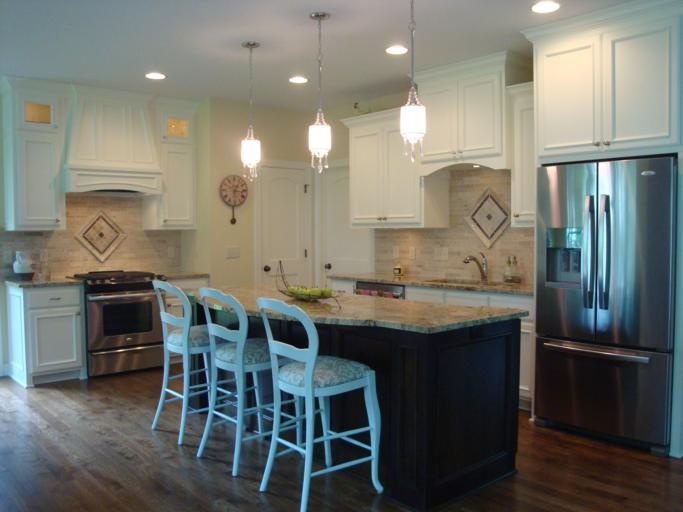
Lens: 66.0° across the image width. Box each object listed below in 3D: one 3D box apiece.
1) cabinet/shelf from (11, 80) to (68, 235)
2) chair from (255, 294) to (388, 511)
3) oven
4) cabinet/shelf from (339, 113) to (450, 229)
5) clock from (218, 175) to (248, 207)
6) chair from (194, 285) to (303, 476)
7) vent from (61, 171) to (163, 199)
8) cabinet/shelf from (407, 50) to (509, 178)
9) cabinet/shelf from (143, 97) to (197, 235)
[{"bbox_3d":[-3.213,-1.092,5.649,0.571,1.583,0.193,-4,8,-29],"label":"cabinet/shelf"},{"bbox_3d":[-0.226,0.884,3.495,0.684,1.283,0.896,-5,8,-37],"label":"chair"},{"bbox_3d":[-2.493,0.832,6.213,0.886,1.268,0.835,0,-1,-40],"label":"oven"},{"bbox_3d":[0.593,-0.916,6.192,1.097,1.120,0.543,3,9,37],"label":"cabinet/shelf"},{"bbox_3d":[-1.351,-0.836,6.656,0.104,0.414,0.404,5,8,37],"label":"clock"},{"bbox_3d":[-0.717,0.863,3.977,0.603,1.301,0.646,4,8,27],"label":"chair"},{"bbox_3d":[-2.590,-0.860,6.040,1.031,0.252,0.077,-5,8,-36],"label":"vent"},{"bbox_3d":[1.203,-1.359,5.317,0.923,1.065,0.243,-3,-10,25],"label":"cabinet/shelf"},{"bbox_3d":[-2.083,-1.053,6.667,0.526,1.431,0.418,-1,1,-24],"label":"cabinet/shelf"}]
